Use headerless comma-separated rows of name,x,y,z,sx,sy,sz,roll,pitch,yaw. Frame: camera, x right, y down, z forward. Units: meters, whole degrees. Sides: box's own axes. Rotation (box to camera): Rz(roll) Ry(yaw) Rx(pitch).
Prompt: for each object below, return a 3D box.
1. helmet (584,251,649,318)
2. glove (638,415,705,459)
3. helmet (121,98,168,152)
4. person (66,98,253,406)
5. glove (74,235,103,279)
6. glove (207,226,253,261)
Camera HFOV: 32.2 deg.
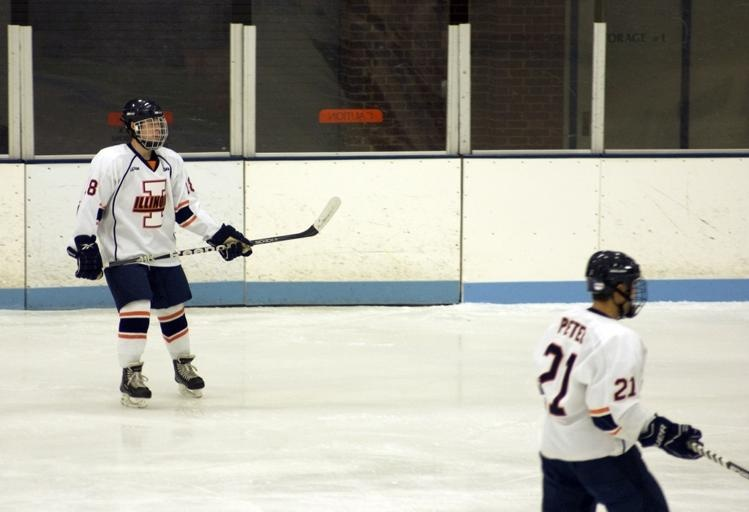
helmet,1.336,0.151,7.192,0.421,0.357,0.355,-3,4,-12
glove,1.620,1.002,7.163,0.331,0.261,0.178,5,11,10
helmet,-1.619,-0.924,9.081,0.296,0.348,0.250,0,11,-14
person,-1.564,-0.060,9.092,1.147,2.052,0.799,-1,12,-19
glove,-1.971,-0.001,8.935,0.190,0.321,0.191,1,11,-11
glove,-1.031,-0.099,9.310,0.272,0.285,0.117,-54,4,-33
